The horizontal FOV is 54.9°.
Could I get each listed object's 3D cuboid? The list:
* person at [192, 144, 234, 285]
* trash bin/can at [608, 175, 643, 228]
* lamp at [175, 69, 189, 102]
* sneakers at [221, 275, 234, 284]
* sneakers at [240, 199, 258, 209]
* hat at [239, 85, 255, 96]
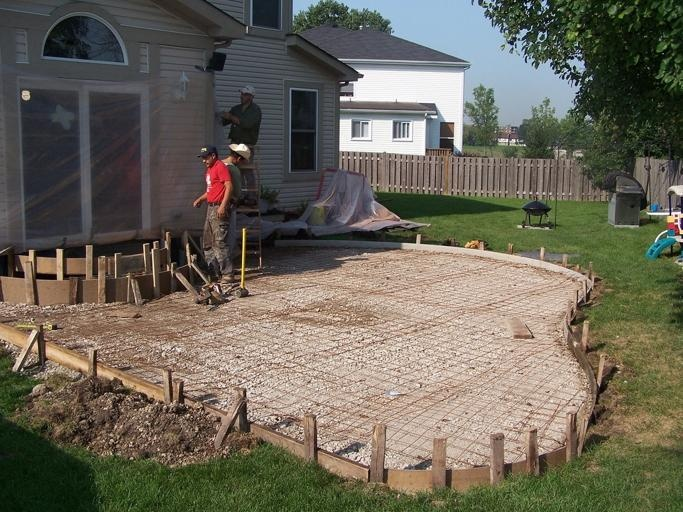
[{"bbox_3d":[-2.205,-0.741,11.384,0.480,2.302,1.065,-5,9,-41],"label":"person"},{"bbox_3d":[8.115,-1.585,18.612,0.850,1.406,2.243,4,8,23],"label":"trash bin/can"},{"bbox_3d":[-2.869,-3.046,11.735,0.135,0.538,0.318,3,7,18],"label":"lamp"},{"bbox_3d":[-1.935,0.383,11.116,0.188,0.141,0.117,7,2,-5],"label":"sneakers"},{"bbox_3d":[-1.907,-1.089,13.542,0.248,0.178,0.133,1,1,13],"label":"sneakers"},{"bbox_3d":[-1.970,-3.465,13.725,0.257,0.234,0.396,-1,7,-16],"label":"hat"}]
